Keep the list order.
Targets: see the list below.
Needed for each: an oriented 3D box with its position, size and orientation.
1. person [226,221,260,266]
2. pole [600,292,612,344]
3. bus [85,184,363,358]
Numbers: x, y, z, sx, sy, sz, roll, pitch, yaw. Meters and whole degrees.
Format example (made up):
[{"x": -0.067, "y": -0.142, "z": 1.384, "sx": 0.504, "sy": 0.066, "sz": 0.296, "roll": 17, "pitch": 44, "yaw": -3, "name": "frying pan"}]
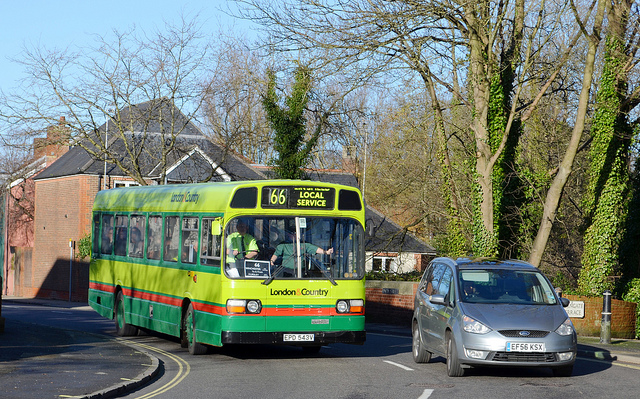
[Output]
[{"x": -2.075, "y": 1.233, "z": 18.371, "sx": 0.846, "sy": 1.395, "sz": 0.651, "roll": 3, "pitch": 28, "yaw": -9, "name": "person"}, {"x": 9.415, "y": 3.886, "z": 22.551, "sx": 0.330, "sy": 1.676, "sz": 0.319, "roll": -3, "pitch": -11, "yaw": 24, "name": "pole"}, {"x": -3.971, "y": 2.354, "z": 23.814, "sx": 4.411, "sy": 5.158, "sz": 13.092, "roll": 4, "pitch": -5, "yaw": -35, "name": "bus"}]
